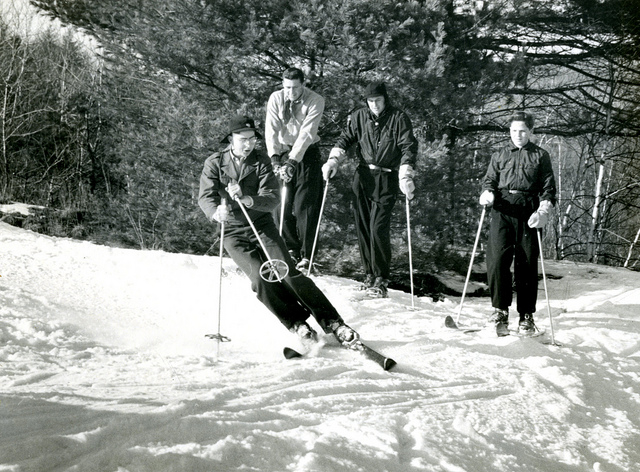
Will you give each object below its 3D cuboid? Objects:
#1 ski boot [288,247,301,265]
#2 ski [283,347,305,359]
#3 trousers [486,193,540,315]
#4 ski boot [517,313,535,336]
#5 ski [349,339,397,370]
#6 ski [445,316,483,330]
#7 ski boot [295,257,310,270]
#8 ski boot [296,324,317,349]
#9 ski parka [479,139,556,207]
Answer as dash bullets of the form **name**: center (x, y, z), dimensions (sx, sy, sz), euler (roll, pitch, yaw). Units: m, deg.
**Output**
- **ski boot**: center (-0.381, 0.303, 8.988), dimensions (0.150, 0.239, 0.094), euler (0, 17, 16)
- **ski**: center (-0.297, 1.262, 6.545), dimensions (0.161, 0.049, 0.114), euler (23, -17, -27)
- **trousers**: center (2.517, 0.219, 7.892), dimensions (0.661, 1.513, 0.352), euler (6, 13, 4)
- **ski boot**: center (2.659, 1.146, 7.811), dimensions (0.212, 0.256, 0.412), euler (10, 14, 19)
- **ski**: center (0.565, 1.283, 6.547), dimensions (0.175, 0.106, 0.547), euler (-31, 36, -21)
- **ski**: center (1.787, 1.134, 7.863), dimensions (0.287, 0.138, 0.226), euler (3, -7, 7)
- **ski boot**: center (-0.263, 0.397, 8.896), dimensions (0.131, 0.110, 0.326), euler (-10, 14, 28)
- **ski boot**: center (-0.149, 1.137, 6.935), dimensions (0.139, 0.139, 0.324), euler (-18, 28, -3)
- **ski parka**: center (2.617, -0.857, 7.974), dimensions (0.952, 0.862, 0.504), euler (6, 9, 22)
